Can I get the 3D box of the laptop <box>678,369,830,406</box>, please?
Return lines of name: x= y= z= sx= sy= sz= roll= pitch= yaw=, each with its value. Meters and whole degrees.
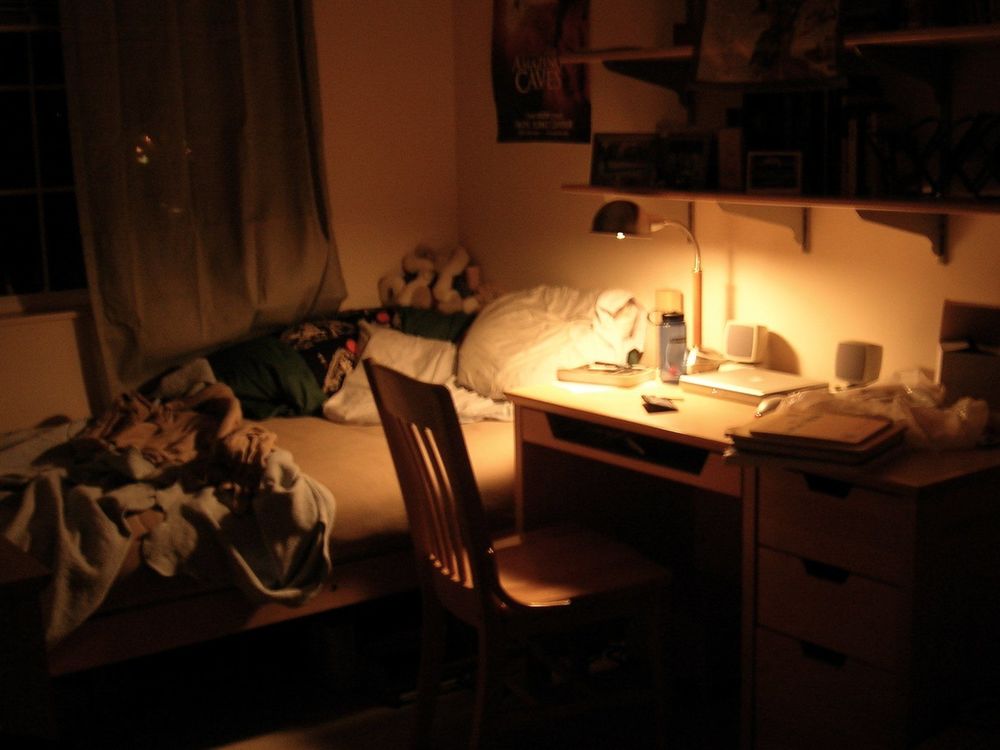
laptop: x=0.724 y=0.027 z=2.207 sx=0.193 sy=0.040 sz=0.187 roll=-4 pitch=12 yaw=-31

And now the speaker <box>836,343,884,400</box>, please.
speaker: x=0.999 y=-0.013 z=2.111 sx=0.097 sy=0.177 sz=0.124 roll=-6 pitch=11 yaw=-24

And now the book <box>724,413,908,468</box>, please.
book: x=0.720 y=0.139 z=1.729 sx=0.339 sy=0.062 sz=0.247 roll=6 pitch=15 yaw=36

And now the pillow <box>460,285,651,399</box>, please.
pillow: x=0.188 y=-0.082 z=2.947 sx=0.554 sy=0.194 sz=0.454 roll=-4 pitch=27 yaw=27

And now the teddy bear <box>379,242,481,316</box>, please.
teddy bear: x=-0.312 y=-0.441 z=3.604 sx=0.360 sy=0.154 sz=0.373 roll=-1 pitch=15 yaw=1

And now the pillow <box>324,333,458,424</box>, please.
pillow: x=-0.440 y=-0.006 z=3.050 sx=0.383 sy=0.400 sz=0.121 roll=14 pitch=-27 yaw=6
